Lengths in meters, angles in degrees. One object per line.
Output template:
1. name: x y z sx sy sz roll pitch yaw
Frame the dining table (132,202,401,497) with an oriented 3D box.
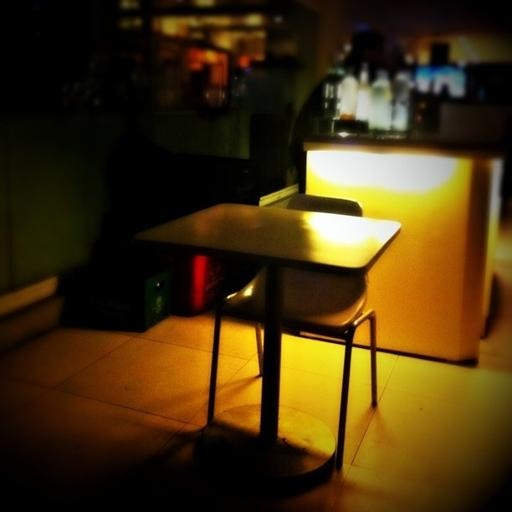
1. dining table: 0.062 0.290 1.668 0.720 0.840 0.639 3 14 26

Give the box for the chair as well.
1. chair: 0.182 0.234 1.908 0.600 1.051 0.579 19 22 32
